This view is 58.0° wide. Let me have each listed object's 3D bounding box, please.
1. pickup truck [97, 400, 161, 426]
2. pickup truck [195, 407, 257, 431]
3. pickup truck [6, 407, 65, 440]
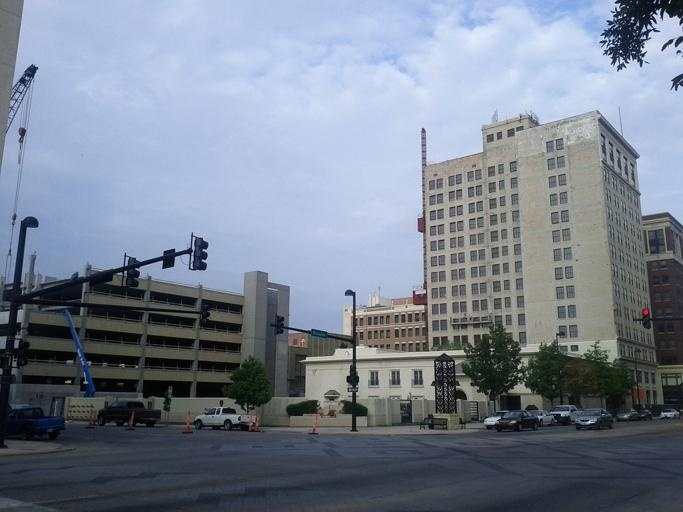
[{"bbox_3d":[-16.858,12.469,49.081,4.401,2.068,2.758,-11,-20,33],"label":"pickup truck"},{"bbox_3d":[-9.153,12.460,47.515,4.582,1.766,1.705,-7,-18,22],"label":"pickup truck"},{"bbox_3d":[-17.151,9.105,33.741,3.445,1.314,1.839,-5,-10,40],"label":"pickup truck"}]
